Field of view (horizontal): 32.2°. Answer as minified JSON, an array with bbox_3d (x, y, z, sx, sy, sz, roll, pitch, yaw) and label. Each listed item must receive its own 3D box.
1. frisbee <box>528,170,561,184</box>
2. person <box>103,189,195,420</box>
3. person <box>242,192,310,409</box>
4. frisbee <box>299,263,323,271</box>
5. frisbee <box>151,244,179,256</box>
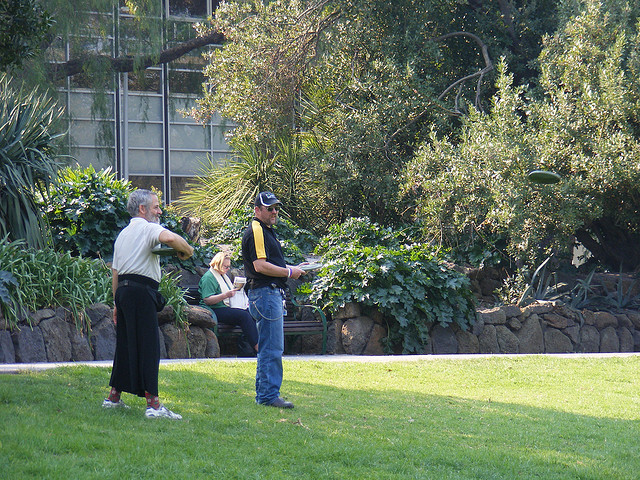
[{"bbox_3d":[3.383,-0.964,16.685,0.448,0.223,0.464,0,-4,11],"label":"frisbee"},{"bbox_3d":[-2.543,0.916,15.976,1.073,3.257,0.293,-1,-3,17],"label":"person"},{"bbox_3d":[-0.664,0.947,16.910,1.009,3.169,1.125,0,-2,-1],"label":"person"},{"bbox_3d":[-0.132,0.400,16.973,0.290,0.118,0.471,0,-4,3],"label":"frisbee"},{"bbox_3d":[-2.206,0.125,15.867,0.386,0.159,0.239,-3,-5,43],"label":"frisbee"}]
